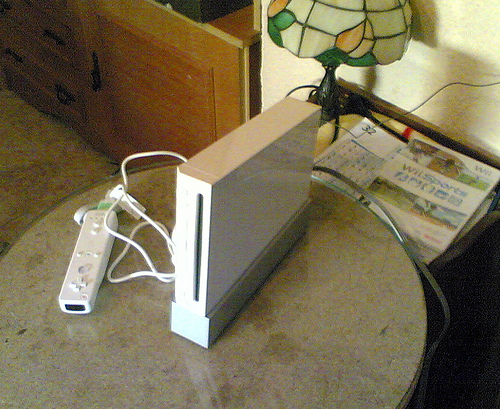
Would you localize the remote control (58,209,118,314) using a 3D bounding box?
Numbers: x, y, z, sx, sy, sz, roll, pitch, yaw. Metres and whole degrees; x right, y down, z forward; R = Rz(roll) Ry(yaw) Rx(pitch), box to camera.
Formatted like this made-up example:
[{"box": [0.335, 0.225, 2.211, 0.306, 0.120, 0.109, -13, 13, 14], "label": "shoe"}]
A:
[{"box": [-0.238, 0.077, 0.655, 0.053, 0.033, 0.181, 0, 51, -5], "label": "remote control"}]
